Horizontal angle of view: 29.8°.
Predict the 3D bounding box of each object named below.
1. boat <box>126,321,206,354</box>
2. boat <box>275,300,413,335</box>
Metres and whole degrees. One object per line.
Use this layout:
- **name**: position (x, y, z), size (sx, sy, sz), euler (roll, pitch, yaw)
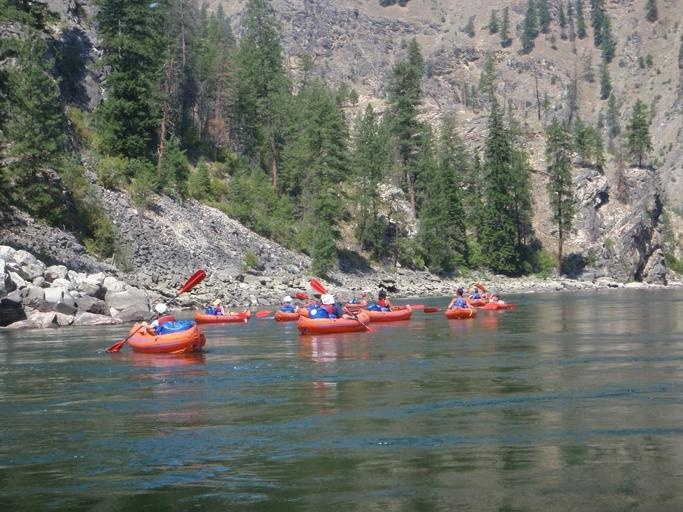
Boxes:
- **boat**: position (-18.642, 8.852, 136.082), size (9.323, 2.978, 7.203), euler (2, -5, -36)
- **boat**: position (0.260, 7.248, 140.171), size (6.612, 1.346, 4.985), euler (-1, 2, -29)
